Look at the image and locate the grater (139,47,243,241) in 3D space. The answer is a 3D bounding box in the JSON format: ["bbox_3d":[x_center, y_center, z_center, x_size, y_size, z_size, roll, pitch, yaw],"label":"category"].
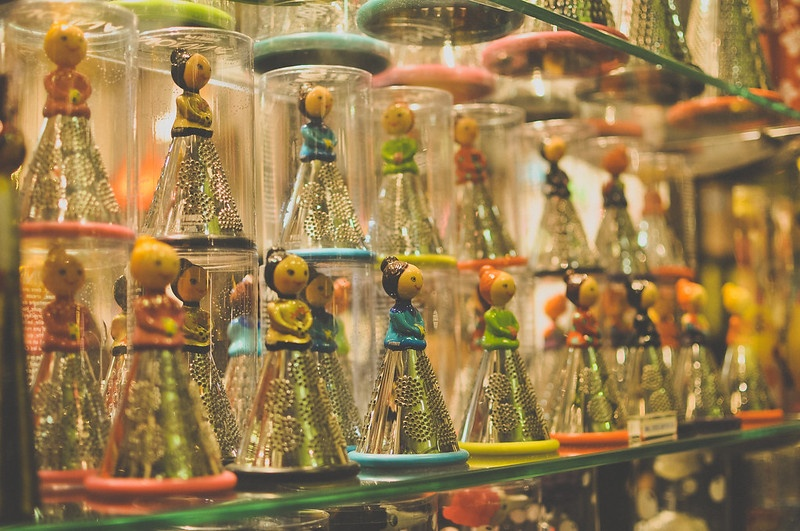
[{"bbox_3d":[-0.304,-0.175,2.065,0.155,0.284,0.124,4,-7,-26],"label":"grater"}]

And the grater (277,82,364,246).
[{"bbox_3d":[-0.123,-0.156,2.152,0.123,0.271,0.109,5,-8,-32],"label":"grater"}]

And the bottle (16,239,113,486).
[{"bbox_3d":[-0.481,0.113,1.964,0.176,0.299,0.151,-5,29,-34],"label":"bottle"}]

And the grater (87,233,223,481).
[{"bbox_3d":[-0.345,0.133,1.918,0.201,0.374,0.207,-3,-4,17],"label":"grater"}]

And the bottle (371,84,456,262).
[{"bbox_3d":[0.023,-0.154,2.306,0.145,0.328,0.209,1,-6,1],"label":"bottle"}]

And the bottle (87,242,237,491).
[{"bbox_3d":[-0.328,0.139,1.873,0.204,0.350,0.077,3,-6,-15],"label":"bottle"}]
